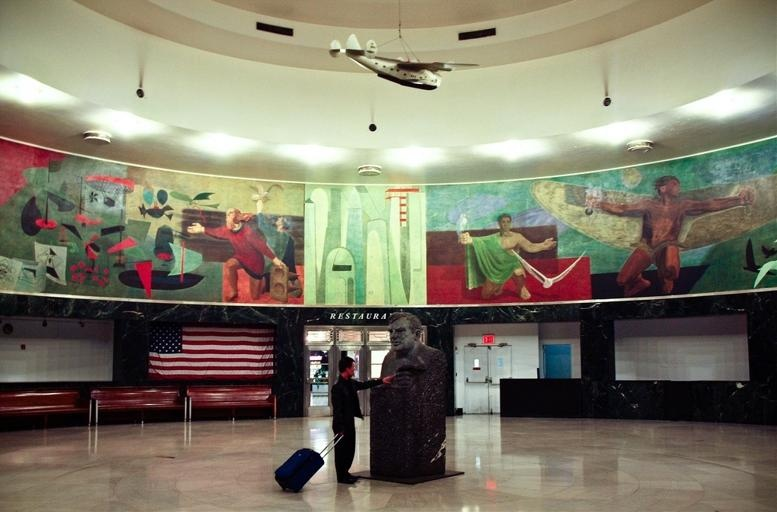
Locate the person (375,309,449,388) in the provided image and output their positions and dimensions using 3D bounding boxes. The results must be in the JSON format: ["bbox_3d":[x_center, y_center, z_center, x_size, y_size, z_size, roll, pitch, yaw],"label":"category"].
[{"bbox_3d":[0.427,1.875,12.584,1.541,1.476,0.967,-5,-12,43],"label":"person"}]

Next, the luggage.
[{"bbox_3d":[-1.593,3.934,11.604,0.643,0.690,0.966,-4,-9,32],"label":"luggage"}]

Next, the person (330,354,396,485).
[{"bbox_3d":[-0.671,3.151,12.331,0.911,2.343,1.023,0,-7,-1],"label":"person"}]
